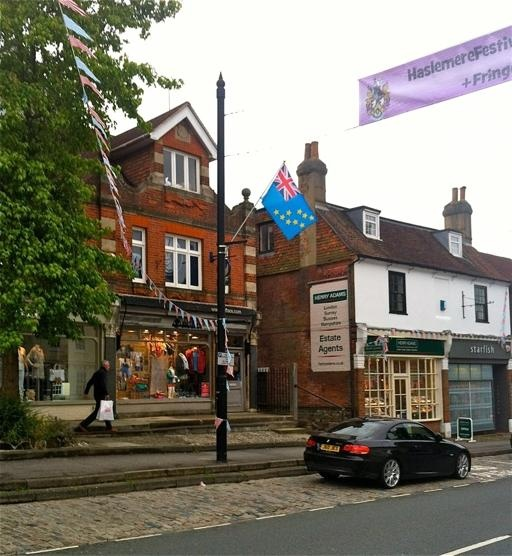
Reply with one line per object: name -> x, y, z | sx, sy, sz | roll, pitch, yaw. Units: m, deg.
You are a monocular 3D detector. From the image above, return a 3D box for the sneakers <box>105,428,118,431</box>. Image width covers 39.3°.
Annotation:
sneakers -> -3.562, 3.733, 17.599 | 0.286, 0.121, 0.086 | -2, 4, -24

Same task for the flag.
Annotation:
flag -> 0.788, -1.960, 18.342 | 0.734, 1.640, 1.263 | -6, -12, 37

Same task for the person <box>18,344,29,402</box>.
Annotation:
person -> -5.820, 2.332, 17.801 | 0.176, 1.248, 0.468 | 3, -10, -11

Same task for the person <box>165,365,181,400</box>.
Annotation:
person -> -2.611, 3.226, 22.204 | 0.132, 0.997, 0.539 | -4, -11, 29

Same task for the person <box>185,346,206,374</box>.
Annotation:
person -> -2.003, 2.653, 22.968 | 0.788, 1.096, 0.183 | 13, -29, -42

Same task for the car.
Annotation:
car -> 2.622, 3.248, 13.655 | 2.901, 0.901, 1.208 | 3, -6, -38
